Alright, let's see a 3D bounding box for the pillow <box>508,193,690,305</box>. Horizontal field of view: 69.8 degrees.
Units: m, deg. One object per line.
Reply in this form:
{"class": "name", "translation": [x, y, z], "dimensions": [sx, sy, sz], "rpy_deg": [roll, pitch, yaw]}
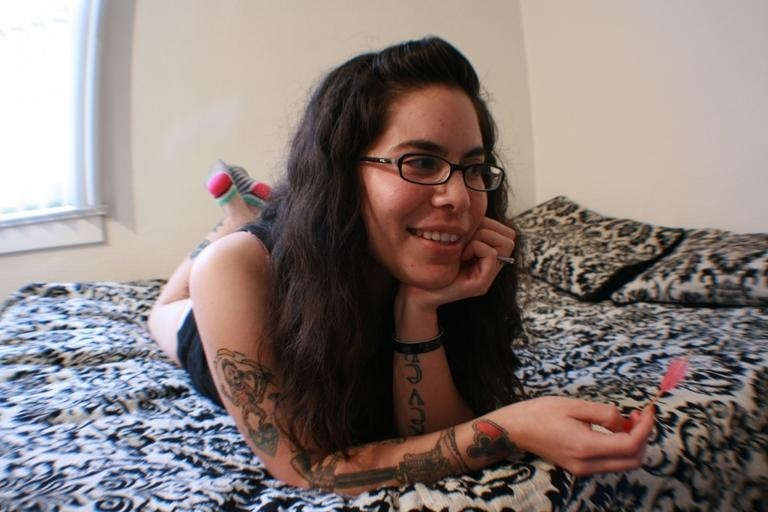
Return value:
{"class": "pillow", "translation": [1.025, -0.054, 2.872], "dimensions": [0.559, 0.201, 0.683], "rpy_deg": [-29, 18, -12]}

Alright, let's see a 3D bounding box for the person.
{"class": "person", "translation": [0.036, -0.013, 1.990], "dimensions": [1.397, 1.516, 0.593], "rpy_deg": [-2, 5, 5]}
